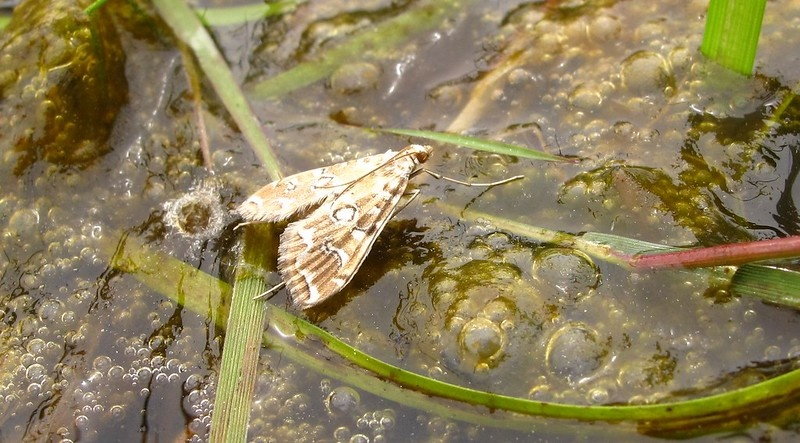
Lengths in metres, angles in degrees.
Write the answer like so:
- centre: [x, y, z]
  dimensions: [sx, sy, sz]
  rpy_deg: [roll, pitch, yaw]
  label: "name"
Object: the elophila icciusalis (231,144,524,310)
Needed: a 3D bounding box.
- centre: [-0.424, -0.039, 5.024]
  dimensions: [1.420, 0.387, 0.848]
  rpy_deg: [-41, 67, -1]
  label: "elophila icciusalis"
